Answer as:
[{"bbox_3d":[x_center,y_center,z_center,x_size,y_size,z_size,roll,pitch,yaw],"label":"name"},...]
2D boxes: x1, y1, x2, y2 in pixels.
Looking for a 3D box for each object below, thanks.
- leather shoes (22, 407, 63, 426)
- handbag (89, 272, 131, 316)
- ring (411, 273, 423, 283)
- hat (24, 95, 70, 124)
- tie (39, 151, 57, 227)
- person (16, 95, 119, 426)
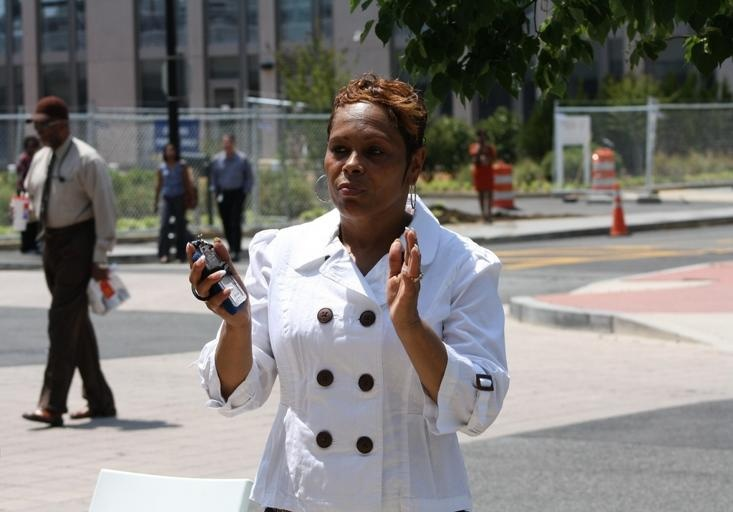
[{"bbox_3d":[-2.174,1.097,10.038,0.255,0.122,0.087,23,-21,-31],"label":"leather shoes"},{"bbox_3d":[-1.799,0.270,10.407,0.205,0.225,0.083,-38,15,-30],"label":"handbag"},{"bbox_3d":[0.241,0.093,6.960,0.035,0.050,0.018,8,-21,3],"label":"ring"},{"bbox_3d":[-2.153,-1.004,10.155,0.225,0.158,0.157,0,1,-27],"label":"hat"},{"bbox_3d":[-2.190,-0.491,10.275,0.053,0.616,0.064,8,-31,-1],"label":"tie"},{"bbox_3d":[-2.015,0.149,10.263,0.592,1.975,0.545,-2,4,-15],"label":"person"}]
